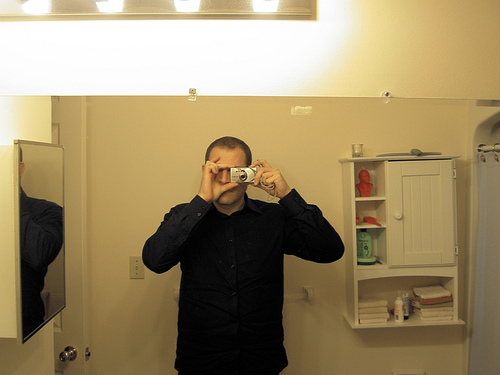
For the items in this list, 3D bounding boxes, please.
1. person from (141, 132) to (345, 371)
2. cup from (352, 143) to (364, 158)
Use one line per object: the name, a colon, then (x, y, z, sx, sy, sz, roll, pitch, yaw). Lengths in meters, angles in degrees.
person: (-0.024, 0.233, 1.600, 0.687, 0.866, 0.196, -1, 2, -16)
cup: (0.403, -0.137, 1.677, 0.044, 0.050, 0.044, 0, -2, 0)
